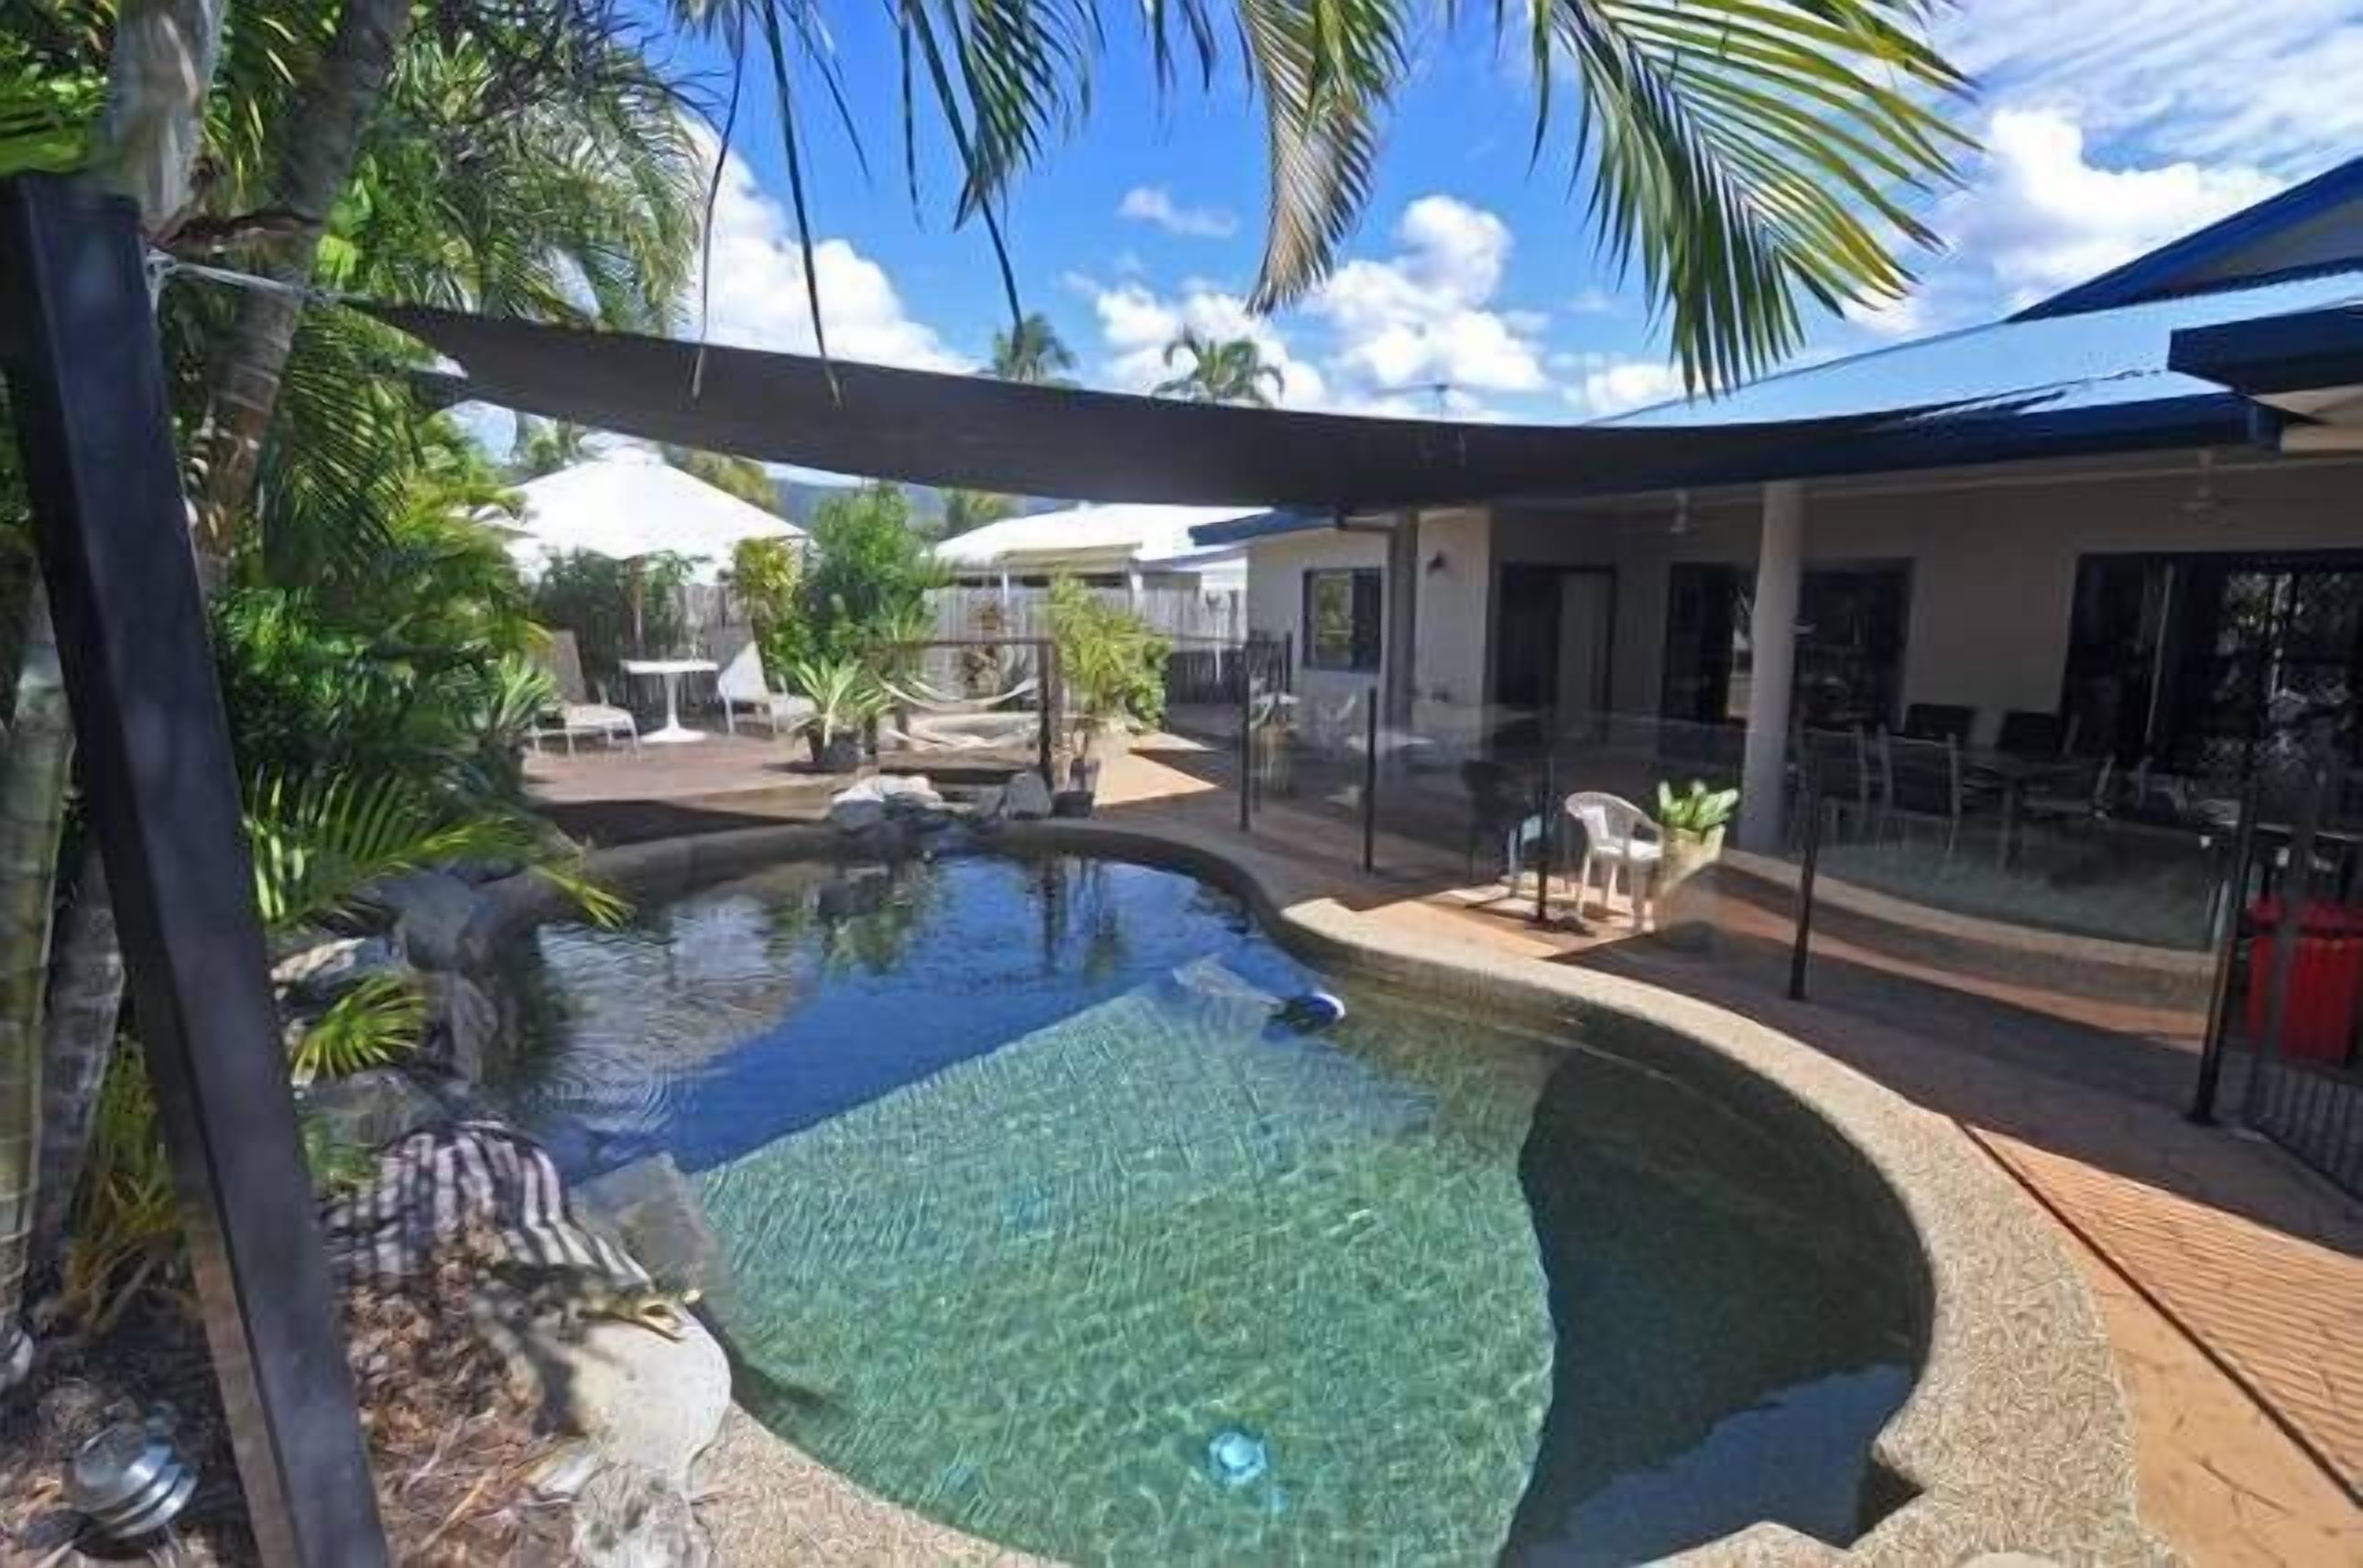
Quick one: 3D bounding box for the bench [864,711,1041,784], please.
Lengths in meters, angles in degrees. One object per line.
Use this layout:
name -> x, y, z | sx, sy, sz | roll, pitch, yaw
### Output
bench -> -2.257, -0.370, 14.052 | 1.556, 0.580, 2.487 | -1, 6, -9

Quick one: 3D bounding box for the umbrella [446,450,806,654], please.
umbrella -> -5.829, -2.853, 14.769 | 3.034, 1.477, 3.060 | 1, 12, -11

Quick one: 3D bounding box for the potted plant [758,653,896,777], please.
potted plant -> -3.368, -0.640, 13.693 | 0.983, 1.044, 1.879 | -2, 7, -15

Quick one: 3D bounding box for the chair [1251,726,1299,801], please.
chair -> 0.863, -0.166, 12.755 | 0.568, 0.925, 0.582 | 0, 4, 2

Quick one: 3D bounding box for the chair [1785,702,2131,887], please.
chair -> 4.798, 0.133, 8.565 | 1.175, 0.744, 1.146 | -9, 14, -32

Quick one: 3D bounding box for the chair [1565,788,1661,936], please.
chair -> 2.942, 0.524, 9.195 | 0.468, 0.873, 0.718 | -5, 8, -32

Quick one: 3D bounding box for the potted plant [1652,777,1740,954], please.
potted plant -> 3.245, 0.563, 8.837 | 0.432, 0.999, 0.397 | 2, 8, 19
